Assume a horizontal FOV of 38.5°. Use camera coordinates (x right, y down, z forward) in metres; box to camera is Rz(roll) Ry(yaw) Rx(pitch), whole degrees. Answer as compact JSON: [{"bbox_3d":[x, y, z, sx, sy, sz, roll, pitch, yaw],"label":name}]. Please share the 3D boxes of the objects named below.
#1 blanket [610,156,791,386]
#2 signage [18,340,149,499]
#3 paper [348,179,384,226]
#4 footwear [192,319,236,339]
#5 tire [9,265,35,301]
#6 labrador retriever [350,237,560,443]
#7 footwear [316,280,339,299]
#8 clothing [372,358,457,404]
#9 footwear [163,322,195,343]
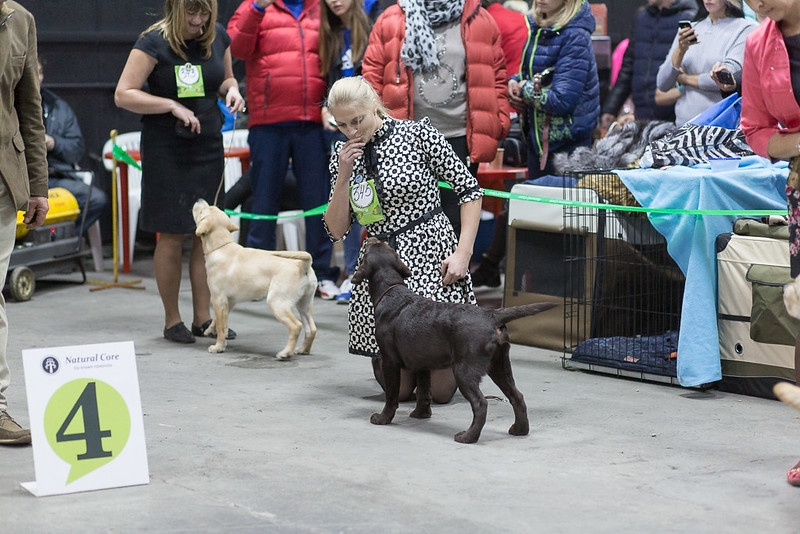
[{"bbox_3d":[1.795,-0.116,7.137,1.494,0.975,1.126,-4,8,-26],"label":"blanket"},{"bbox_3d":[-1.488,0.682,5.520,0.603,0.667,0.416,-5,18,2],"label":"signage"},{"bbox_3d":[-0.186,-0.363,6.324,0.211,0.234,0.035,-19,4,34],"label":"paper"},{"bbox_3d":[-1.256,0.417,7.719,0.358,0.141,0.119,-2,-1,16],"label":"footwear"},{"bbox_3d":[-2.888,0.121,8.663,0.092,0.244,0.254,-5,-7,20],"label":"tire"},{"bbox_3d":[0.212,0.368,6.004,1.373,0.947,0.407,6,11,45],"label":"labrador retriever"},{"bbox_3d":[-0.562,0.175,8.885,0.091,0.087,0.225,-6,6,-28],"label":"footwear"},{"bbox_3d":[0.037,0.622,6.501,0.412,0.387,0.257,-2,1,-32],"label":"clothing"},{"bbox_3d":[-1.453,0.438,7.543,0.105,0.081,0.209,-5,2,-37],"label":"footwear"}]
